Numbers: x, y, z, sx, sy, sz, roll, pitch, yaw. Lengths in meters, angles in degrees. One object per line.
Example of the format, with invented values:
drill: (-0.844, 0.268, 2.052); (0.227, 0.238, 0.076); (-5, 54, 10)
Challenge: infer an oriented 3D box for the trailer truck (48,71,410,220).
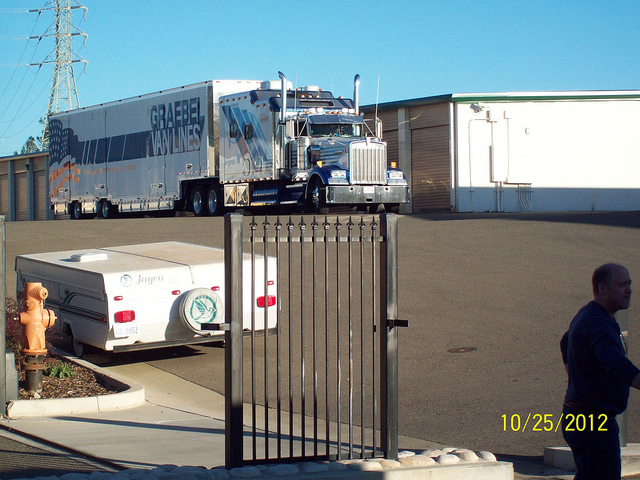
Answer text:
trailer truck: (-4.090, -2.862, 38.767); (3.480, 4.516, 18.845); (-3, 0, -35)

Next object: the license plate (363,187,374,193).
license plate: (1.288, -1.366, 31.327); (0.155, 0.185, 0.041); (2, -1, 1)

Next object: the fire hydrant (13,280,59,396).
fire hydrant: (-4.205, 1.463, 17.391); (0.504, 1.756, 0.284); (-3, 0, -17)
